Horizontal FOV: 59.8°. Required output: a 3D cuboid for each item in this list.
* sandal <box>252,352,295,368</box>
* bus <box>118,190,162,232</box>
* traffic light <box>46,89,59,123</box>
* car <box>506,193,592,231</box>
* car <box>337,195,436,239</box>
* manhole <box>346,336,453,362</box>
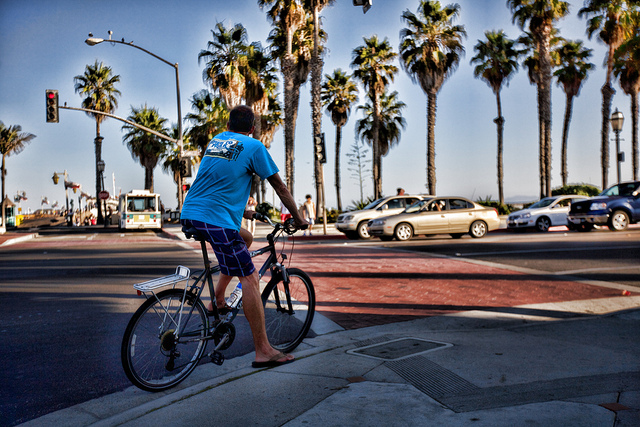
[{"bbox_3d":[-0.528,1.566,6.162,0.417,0.119,0.170,-6,8,-13],"label":"sandal"},{"bbox_3d":[-11.784,-0.107,36.317,2.449,2.337,4.664,0,3,-19],"label":"bus"},{"bbox_3d":[-11.360,-4.566,23.634,0.433,1.507,0.644,-2,1,-22],"label":"traffic light"},{"bbox_3d":[9.690,-0.003,23.474,3.363,1.299,1.493,1,-4,-24],"label":"car"},{"bbox_3d":[2.670,0.133,22.950,3.692,1.524,1.747,-1,-1,-14],"label":"car"},{"bbox_3d":[0.911,1.561,6.450,1.151,0.077,0.602,-2,1,-29],"label":"manhole"}]
